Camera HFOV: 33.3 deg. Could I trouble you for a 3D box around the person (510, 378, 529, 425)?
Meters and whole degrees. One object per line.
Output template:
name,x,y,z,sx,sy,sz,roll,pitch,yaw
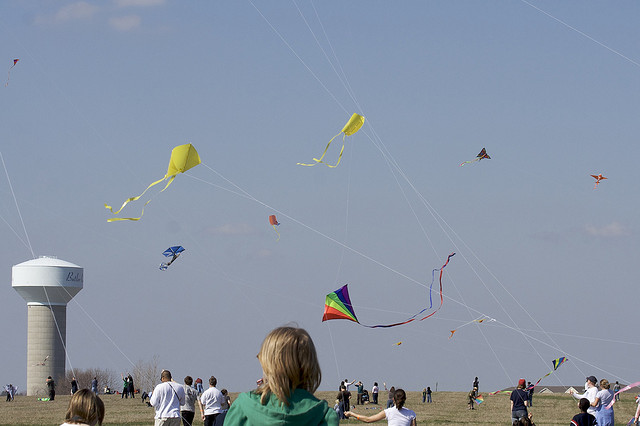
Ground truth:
person,9.965,9.439,53.531,0.800,2.049,1.114,-2,-18,11

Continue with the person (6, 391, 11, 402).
person,-22.658,13.257,77.654,0.302,0.850,1.695,6,-18,-16
